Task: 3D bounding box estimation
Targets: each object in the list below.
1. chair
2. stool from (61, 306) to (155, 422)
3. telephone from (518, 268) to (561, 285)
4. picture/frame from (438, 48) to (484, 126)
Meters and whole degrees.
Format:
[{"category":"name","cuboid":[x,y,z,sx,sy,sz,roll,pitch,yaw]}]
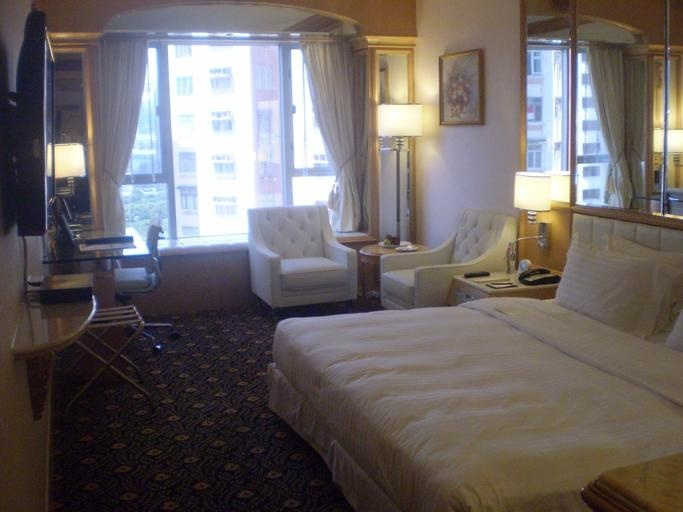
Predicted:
[{"category":"chair","cuboid":[-2.012,0.230,5.453,0.741,1.207,0.792,9,7,38]},{"category":"stool","cuboid":[-1.917,0.765,4.426,0.644,0.732,0.939,2,9,-39]},{"category":"telephone","cuboid":[1.709,0.188,4.835,0.217,0.086,0.175,-2,7,-11]},{"category":"picture/frame","cuboid":[1.290,-1.790,5.910,0.055,0.876,0.784,-4,8,-23]}]
